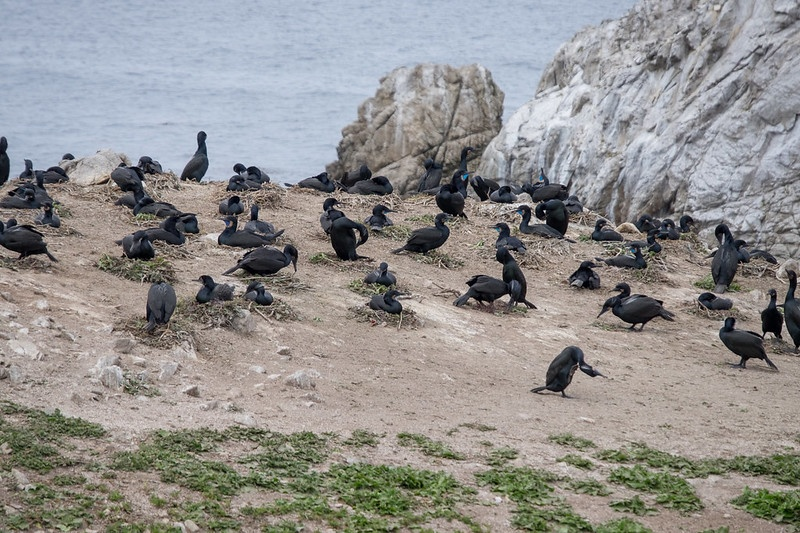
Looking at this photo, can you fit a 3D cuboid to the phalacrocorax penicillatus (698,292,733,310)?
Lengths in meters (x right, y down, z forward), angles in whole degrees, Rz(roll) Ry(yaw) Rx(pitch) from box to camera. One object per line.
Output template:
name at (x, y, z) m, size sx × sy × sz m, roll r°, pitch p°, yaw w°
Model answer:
phalacrocorax penicillatus at (8.623, 0.937, 36.778) m, size 1.003 × 0.367 × 0.377 m, roll 4°, pitch 17°, yaw -26°

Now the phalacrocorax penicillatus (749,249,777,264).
phalacrocorax penicillatus at (10.917, -0.369, 40.190) m, size 0.857 × 0.290 × 0.896 m, roll 13°, pitch 15°, yaw 12°
